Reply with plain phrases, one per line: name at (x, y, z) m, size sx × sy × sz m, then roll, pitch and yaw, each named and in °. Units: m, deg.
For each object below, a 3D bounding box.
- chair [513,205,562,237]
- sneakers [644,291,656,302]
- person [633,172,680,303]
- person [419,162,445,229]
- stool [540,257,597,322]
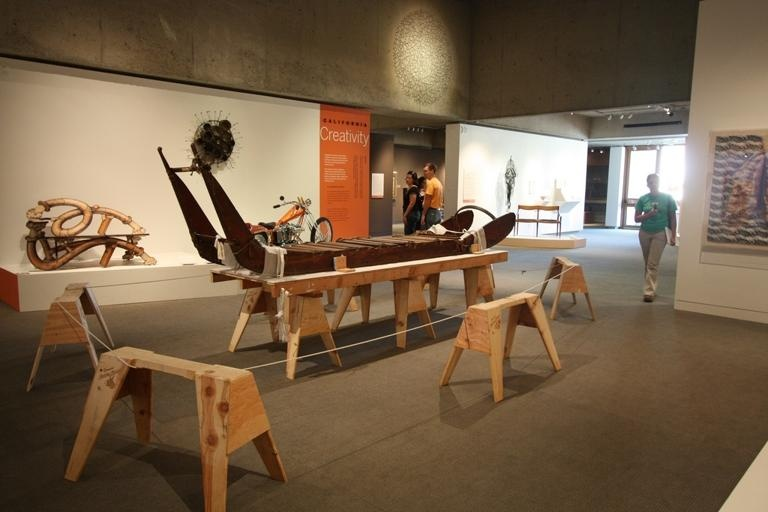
chair at (4.688, -1.110, 14.915) m, size 1.237 × 0.886 × 0.486 m, roll 2°, pitch 8°, yaw 24°
sneakers at (4.052, 0.630, 7.389) m, size 0.166 × 0.159 × 0.137 m, roll 7°, pitch 7°, yaw 29°
person at (4.159, -0.288, 7.455) m, size 0.554 × 1.935 × 0.752 m, roll 6°, pitch 12°, yaw 28°
person at (0.999, -1.235, 10.061) m, size 0.421 × 1.358 × 0.794 m, roll 0°, pitch 11°, yaw 4°
stool at (2.544, 0.382, 6.966) m, size 0.813 × 0.986 × 1.051 m, roll 1°, pitch 4°, yaw -1°
